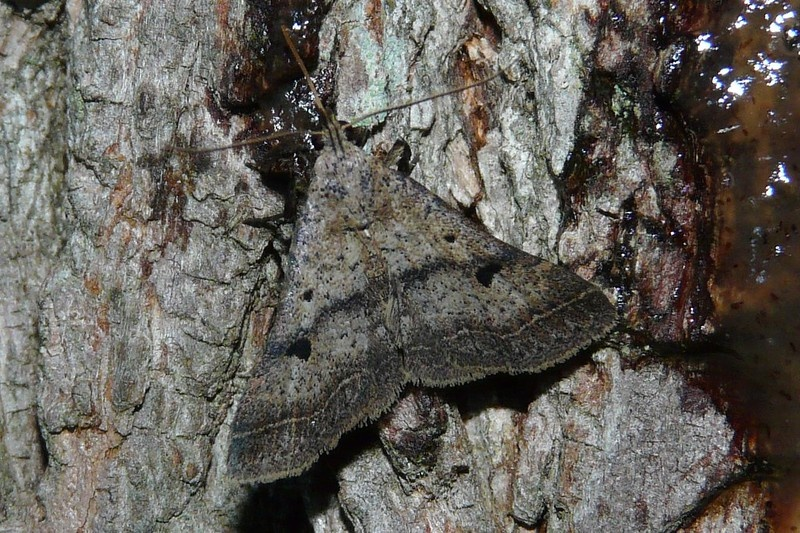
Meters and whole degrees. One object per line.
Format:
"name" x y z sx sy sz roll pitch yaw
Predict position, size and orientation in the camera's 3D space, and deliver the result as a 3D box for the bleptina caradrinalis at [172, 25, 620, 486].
"bleptina caradrinalis" -0.097 0.183 8.268 2.420 0.239 1.648 -21 83 -3
